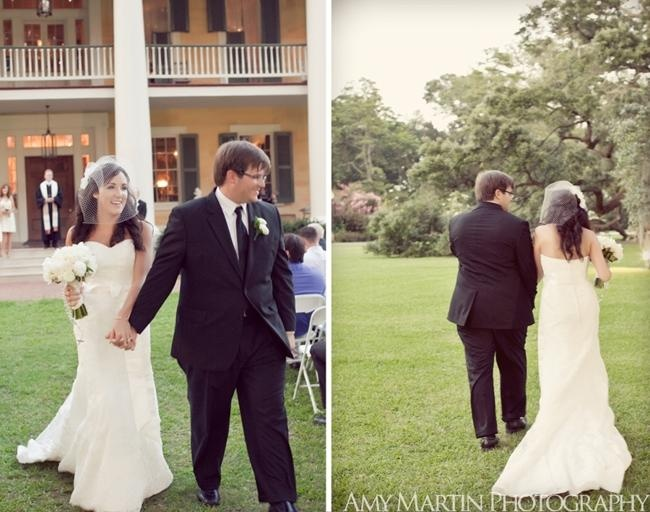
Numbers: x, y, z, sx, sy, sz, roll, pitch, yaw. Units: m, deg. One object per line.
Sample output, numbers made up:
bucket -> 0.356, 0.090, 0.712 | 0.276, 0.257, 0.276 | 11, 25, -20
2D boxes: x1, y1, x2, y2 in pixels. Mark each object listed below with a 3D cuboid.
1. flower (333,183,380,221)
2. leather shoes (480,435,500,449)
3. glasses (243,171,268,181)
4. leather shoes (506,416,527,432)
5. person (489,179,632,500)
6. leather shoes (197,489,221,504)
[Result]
flower -> 0.400, -0.721, 8.928 | 0.454, 0.344, 0.468 | 6, 1, 40
leather shoes -> 1.336, 1.540, 5.717 | 0.080, 0.072, 0.164 | 5, 12, 36
glasses -> -0.461, -0.524, 4.586 | 0.140, 0.065, 0.054 | -4, 4, -29
leather shoes -> 1.633, 1.451, 6.012 | 0.191, 0.131, 0.086 | -21, 16, -25
person -> 1.868, 0.594, 5.290 | 0.828, 2.343, 0.817 | 0, 4, 23
leather shoes -> -0.808, 1.704, 4.887 | 0.073, 0.073, 0.165 | 2, 7, -35
